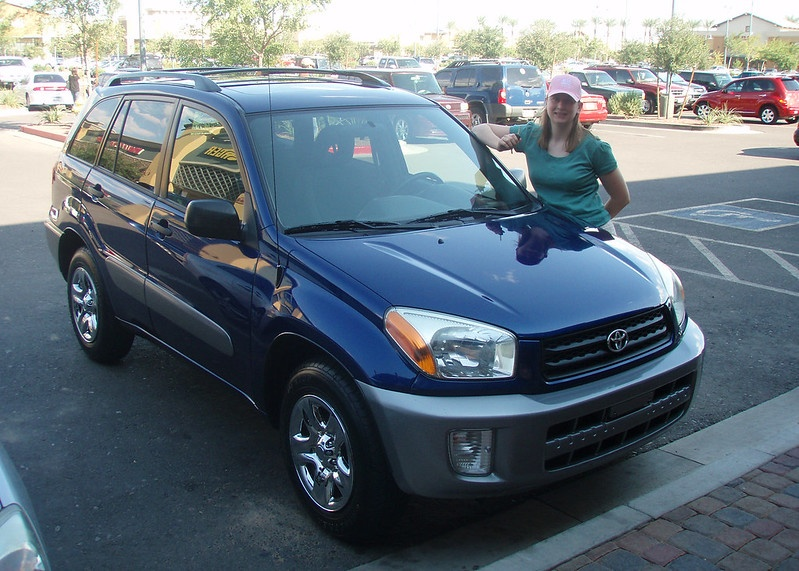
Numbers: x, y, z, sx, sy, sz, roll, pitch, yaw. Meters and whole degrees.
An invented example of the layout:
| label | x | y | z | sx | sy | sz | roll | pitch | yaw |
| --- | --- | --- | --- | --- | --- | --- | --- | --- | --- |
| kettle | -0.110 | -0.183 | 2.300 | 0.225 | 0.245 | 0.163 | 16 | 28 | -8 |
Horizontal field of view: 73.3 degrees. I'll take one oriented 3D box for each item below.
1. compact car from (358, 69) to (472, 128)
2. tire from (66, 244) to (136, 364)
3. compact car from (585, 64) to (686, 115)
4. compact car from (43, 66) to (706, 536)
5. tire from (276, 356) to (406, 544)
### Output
| label | x | y | z | sx | sy | sz | roll | pitch | yaw |
| --- | --- | --- | --- | --- | --- | --- | --- | --- | --- |
| compact car | 0.970 | -7.084 | 20.650 | 5.425 | 2.292 | 2.358 | 3 | 21 | 23 |
| tire | -2.715 | 0.158 | 4.925 | 0.326 | 0.988 | 1.027 | -9 | 11 | -43 |
| compact car | 12.934 | -10.685 | 29.694 | 5.724 | 2.302 | 2.774 | 7 | 25 | 22 |
| compact car | -0.830 | -0.360 | 4.473 | 5.259 | 2.152 | 2.444 | 19 | 24 | 37 |
| tire | -0.342 | 0.874 | 2.834 | 0.800 | 0.997 | 0.172 | 5 | 15 | 45 |
